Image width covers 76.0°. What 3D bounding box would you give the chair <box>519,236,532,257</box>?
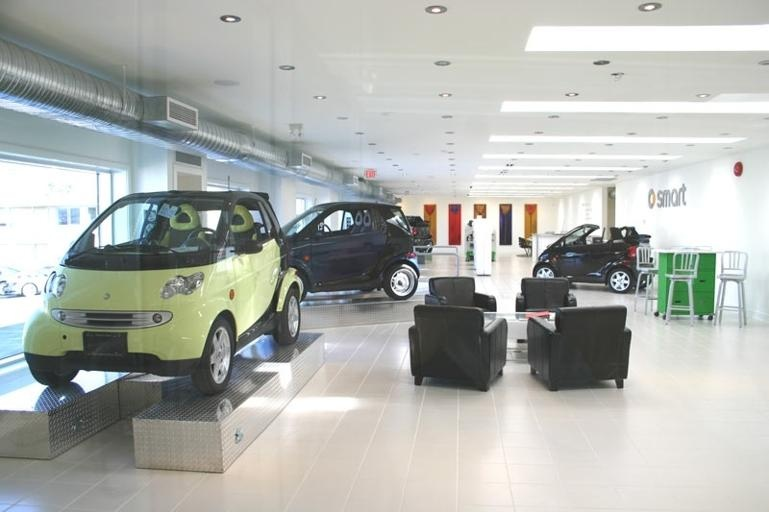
[{"bbox_3d":[7.333,-0.525,25.650,0.876,1.080,1.038,-5,3,10],"label":"chair"}]

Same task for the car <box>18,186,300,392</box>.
[{"bbox_3d":[-1.978,0.319,4.815,1.370,1.243,2.165,-2,-5,8],"label":"car"}]

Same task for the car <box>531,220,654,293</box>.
[{"bbox_3d":[5.754,0.028,13.538,3.185,1.818,1.964,3,1,24],"label":"car"}]

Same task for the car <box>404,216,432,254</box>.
[{"bbox_3d":[1.464,-1.027,20.725,1.150,0.984,1.837,-2,-7,5],"label":"car"}]

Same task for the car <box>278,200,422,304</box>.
[{"bbox_3d":[-0.603,-0.083,9.123,2.319,1.270,1.371,3,-4,-17],"label":"car"}]

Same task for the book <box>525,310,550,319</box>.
[{"bbox_3d":[2.186,0.830,7.016,0.206,0.064,0.213,1,3,14],"label":"book"}]

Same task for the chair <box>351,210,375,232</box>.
[{"bbox_3d":[-0.397,-0.632,8.917,0.352,0.512,0.425,3,2,0],"label":"chair"}]

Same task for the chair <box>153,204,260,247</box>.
[{"bbox_3d":[-1.637,-0.255,4.426,0.314,0.271,0.572,-3,-5,19],"label":"chair"}]
